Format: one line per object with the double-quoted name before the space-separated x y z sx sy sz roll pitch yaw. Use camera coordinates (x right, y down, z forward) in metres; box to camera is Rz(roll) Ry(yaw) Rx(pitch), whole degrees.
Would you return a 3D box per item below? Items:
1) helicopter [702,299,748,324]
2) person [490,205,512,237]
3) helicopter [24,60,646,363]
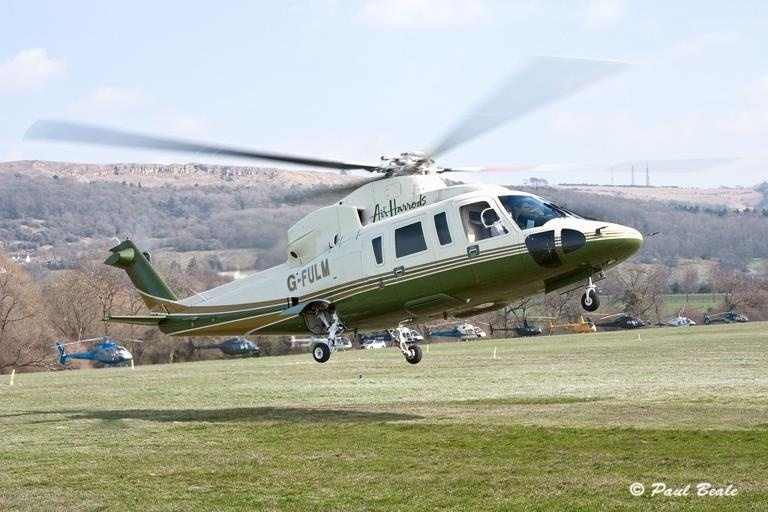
"helicopter" 41.662 6.792 104.366 5.613 1.229 3.610 -5 -3 12
"person" 3.634 -1.084 27.231 0.372 0.836 0.513 -12 12 -25
"helicopter" -0.852 0.056 30.642 16.311 3.637 14.404 -12 -9 33
